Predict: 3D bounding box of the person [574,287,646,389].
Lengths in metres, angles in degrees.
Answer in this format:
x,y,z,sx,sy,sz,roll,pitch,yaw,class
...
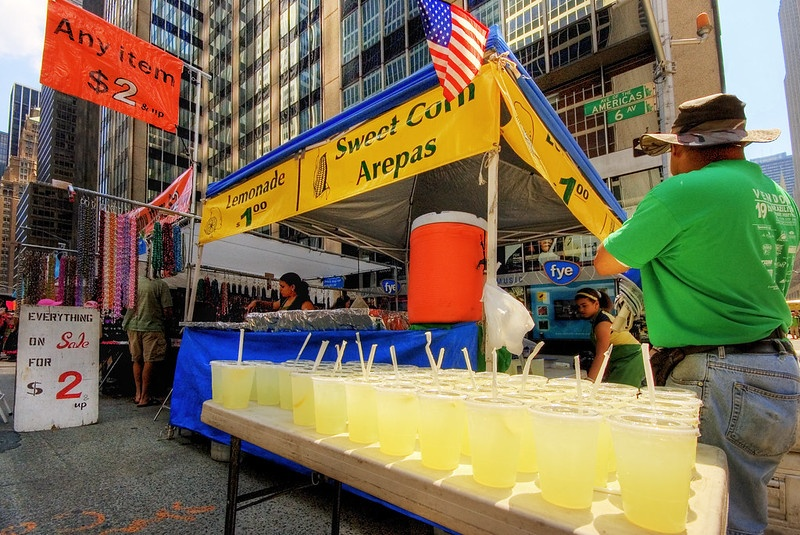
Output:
x,y,z,sx,sy,sz,roll,pitch,yaw,class
2.620,0.845,7.342,0.890,0.570,1.971,0,28,15,person

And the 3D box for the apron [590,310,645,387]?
x,y,z,sx,sy,sz,roll,pitch,yaw,class
2.467,0.937,6.804,0.371,0.336,1.065,-8,19,28,apron

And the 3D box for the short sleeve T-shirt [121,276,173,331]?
x,y,z,sx,sy,sz,roll,pitch,yaw,class
-4.079,0.587,9.592,0.882,1.020,0.450,2,-9,-19,short sleeve T-shirt
